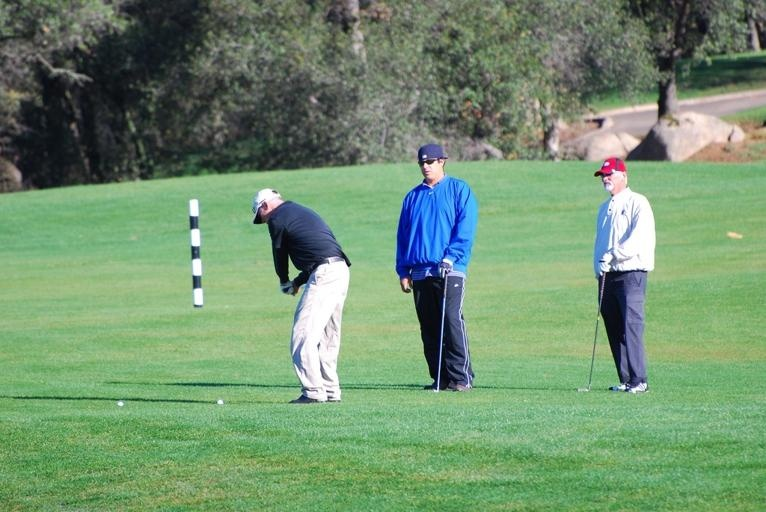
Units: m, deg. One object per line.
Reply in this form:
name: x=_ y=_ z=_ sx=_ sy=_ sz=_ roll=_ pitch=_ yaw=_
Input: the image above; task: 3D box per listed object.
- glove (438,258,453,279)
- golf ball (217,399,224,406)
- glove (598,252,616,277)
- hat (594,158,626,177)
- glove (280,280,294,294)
glove: x=1.461 y=0.300 z=43.601 sx=0.362 sy=0.464 sz=0.426 roll=-1 pitch=-18 yaw=-3
golf ball: x=-3.986 y=3.578 z=42.707 sx=0.113 sy=0.156 sz=0.072 roll=-8 pitch=-23 yaw=3
glove: x=5.473 y=0.185 z=43.526 sx=0.331 sy=0.512 sz=0.155 roll=8 pitch=5 yaw=29
hat: x=5.671 y=-2.233 z=43.854 sx=0.785 sy=0.455 sz=0.516 roll=1 pitch=-1 yaw=-3
glove: x=-2.352 y=0.771 z=42.693 sx=0.339 sy=0.323 sz=0.249 roll=-7 pitch=10 yaw=0
